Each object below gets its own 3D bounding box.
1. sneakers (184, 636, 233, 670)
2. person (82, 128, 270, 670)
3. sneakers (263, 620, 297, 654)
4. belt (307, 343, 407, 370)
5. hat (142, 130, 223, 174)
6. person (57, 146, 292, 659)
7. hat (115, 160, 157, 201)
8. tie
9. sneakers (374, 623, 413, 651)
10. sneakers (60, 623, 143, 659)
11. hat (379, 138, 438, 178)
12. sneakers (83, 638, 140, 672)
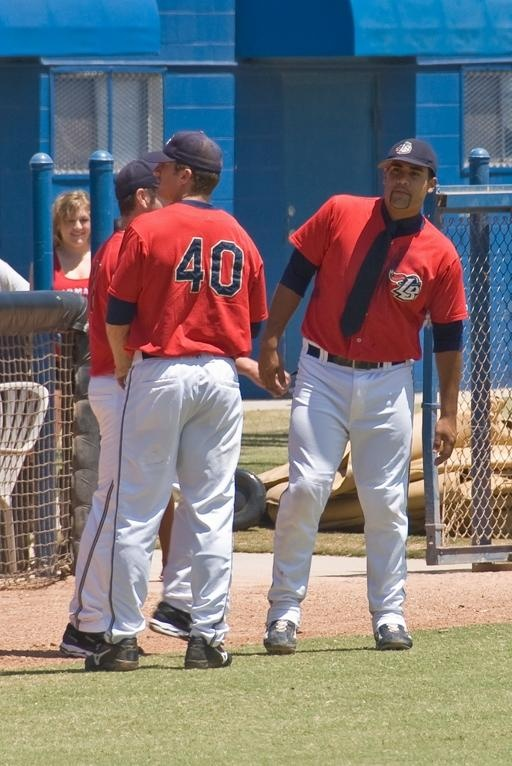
[{"bbox_3d":[-0.159,0.936,5.561,0.070,0.093,0.196,0,-1,33],"label":"sneakers"},{"bbox_3d":[-0.247,0.046,5.564,0.620,1.883,0.344,0,1,-41],"label":"person"},{"bbox_3d":[0.092,0.921,5.796,0.087,0.099,0.204,0,-9,0],"label":"sneakers"},{"bbox_3d":[0.365,-0.100,5.848,0.366,0.099,0.104,0,1,4],"label":"belt"},{"bbox_3d":[-0.249,-0.819,5.602,0.226,0.141,0.160,15,11,-3],"label":"hat"},{"bbox_3d":[-0.259,0.058,5.600,0.528,1.874,0.484,7,-12,-24],"label":"person"},{"bbox_3d":[-0.451,-0.788,6.136,0.164,0.111,0.113,-27,34,-32],"label":"hat"},{"bbox_3d":[0.428,-0.429,5.816,0.170,0.574,0.041,20,-11,-5],"label":"tie"},{"bbox_3d":[0.501,0.930,5.840,0.134,0.094,0.097,0,1,4],"label":"sneakers"},{"bbox_3d":[-0.562,0.916,5.683,0.226,0.131,0.090,-3,-1,5],"label":"sneakers"},{"bbox_3d":[0.589,-0.834,5.877,0.126,0.095,0.173,14,-6,38],"label":"hat"},{"bbox_3d":[-0.488,0.939,5.492,0.162,0.129,0.092,-1,-7,17],"label":"sneakers"}]
